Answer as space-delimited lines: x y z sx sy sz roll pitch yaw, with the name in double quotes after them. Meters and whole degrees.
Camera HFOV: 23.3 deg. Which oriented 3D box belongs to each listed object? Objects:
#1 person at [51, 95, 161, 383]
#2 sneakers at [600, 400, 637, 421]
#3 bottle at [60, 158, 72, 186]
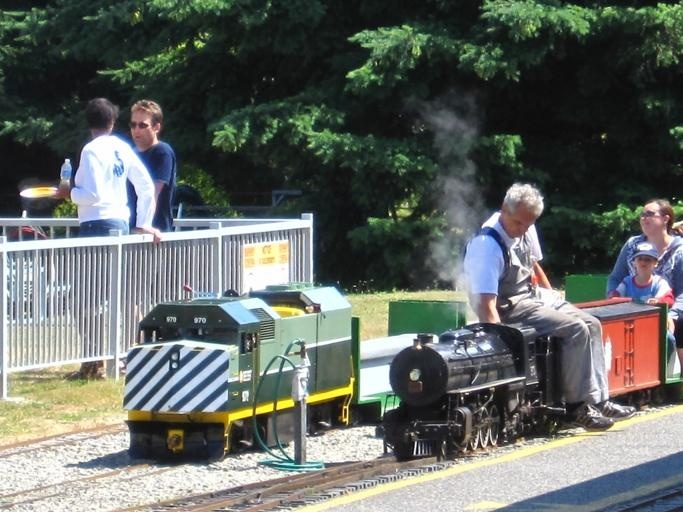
-3.264 -0.529 23.885 1.328 3.615 0.934 5 26 -1 "person"
3.682 2.056 22.352 0.594 0.263 0.225 -1 4 0 "sneakers"
-3.861 -1.196 23.325 0.124 0.328 0.429 -1 0 -6 "bottle"
